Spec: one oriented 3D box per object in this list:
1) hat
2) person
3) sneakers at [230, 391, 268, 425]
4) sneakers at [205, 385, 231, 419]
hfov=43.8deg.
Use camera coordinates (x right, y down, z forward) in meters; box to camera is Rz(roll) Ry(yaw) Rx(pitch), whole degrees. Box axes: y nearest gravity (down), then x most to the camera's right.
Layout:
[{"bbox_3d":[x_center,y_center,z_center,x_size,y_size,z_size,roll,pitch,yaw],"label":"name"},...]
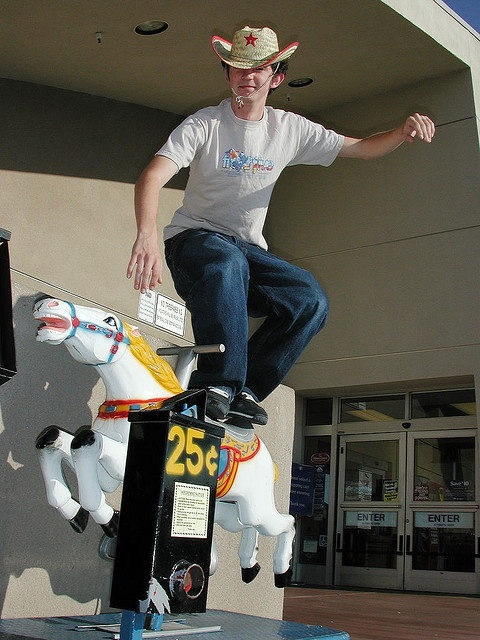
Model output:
[{"bbox_3d":[0.047,-0.924,2.091,0.232,0.081,0.224,6,29,8],"label":"hat"},{"bbox_3d":[0.068,-0.442,2.106,1.027,1.599,0.569,13,-12,-37],"label":"person"},{"bbox_3d":[0.036,0.289,1.973,0.087,0.104,0.232,1,-10,25],"label":"sneakers"},{"bbox_3d":[-0.067,0.225,1.716,0.049,0.114,0.055,-2,-6,1],"label":"sneakers"}]
